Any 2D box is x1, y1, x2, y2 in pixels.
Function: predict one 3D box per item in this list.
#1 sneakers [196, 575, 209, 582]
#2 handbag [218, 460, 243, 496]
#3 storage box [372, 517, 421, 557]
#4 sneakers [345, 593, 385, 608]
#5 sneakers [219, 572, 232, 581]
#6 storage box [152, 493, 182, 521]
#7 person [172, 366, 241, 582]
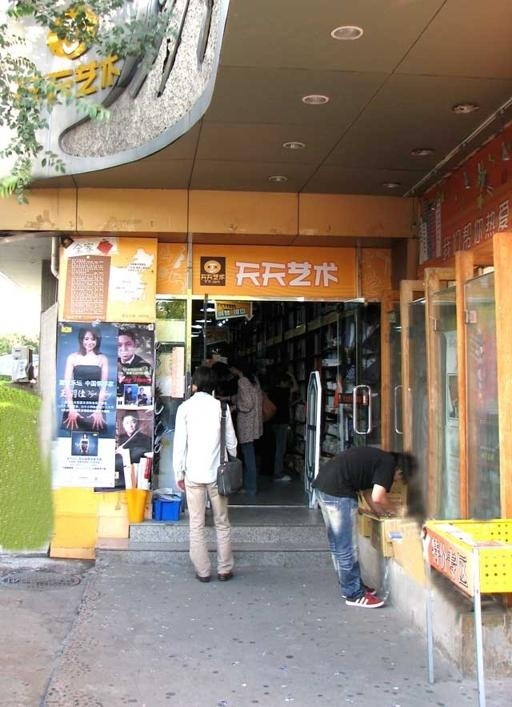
[{"bbox_3d":[-0.410,1.679,4.269,0.111,0.051,0.073,-2,-7,7],"label":"sneakers"},{"bbox_3d":[-0.202,0.898,4.165,0.111,0.265,0.301,0,0,23],"label":"handbag"},{"bbox_3d":[0.950,1.210,3.807,0.277,0.180,0.273,2,-4,-23],"label":"storage box"},{"bbox_3d":[0.712,1.617,3.757,0.219,0.104,0.093,-4,-5,10],"label":"sneakers"},{"bbox_3d":[-0.235,1.682,4.343,0.044,0.058,0.126,2,2,18],"label":"sneakers"},{"bbox_3d":[-0.849,1.429,5.341,0.196,0.180,0.248,2,-3,-7],"label":"storage box"},{"bbox_3d":[-0.406,0.901,4.304,0.426,1.609,0.263,0,-7,-4],"label":"person"}]
